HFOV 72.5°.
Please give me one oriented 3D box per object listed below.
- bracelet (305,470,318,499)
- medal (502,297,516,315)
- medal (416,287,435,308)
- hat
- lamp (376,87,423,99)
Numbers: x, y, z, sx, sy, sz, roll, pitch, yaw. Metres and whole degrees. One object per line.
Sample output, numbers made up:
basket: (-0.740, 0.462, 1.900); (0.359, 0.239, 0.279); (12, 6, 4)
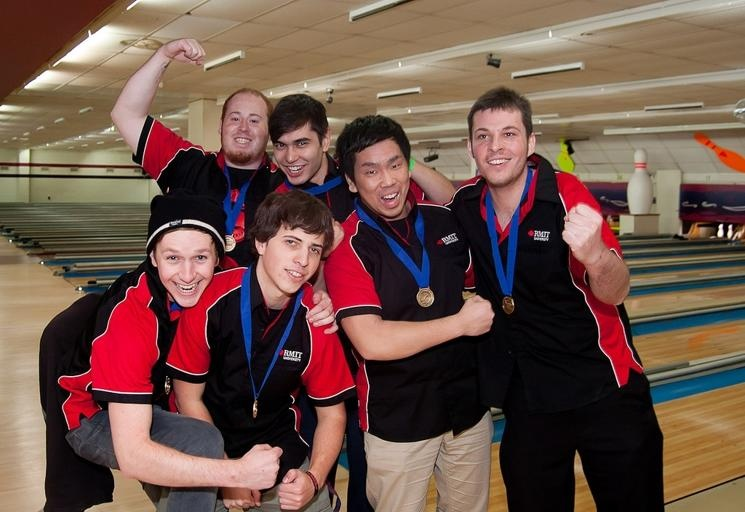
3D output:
bracelet: (-0.223, 0.777, 1.747); (0.017, 0.069, 0.064); (-15, 44, -36)
medal: (0.487, 0.192, 1.814); (0.062, 0.074, 0.015); (0, 3, 30)
medal: (0.187, 0.164, 1.805); (0.062, 0.063, 0.015); (-1, -8, -8)
hat: (-0.662, -0.075, 1.789); (0.241, 0.201, 0.181); (-3, -6, -2)
lamp: (0.431, -2.572, 8.722); (0.951, 0.135, 0.197); (2, 5, 38)
